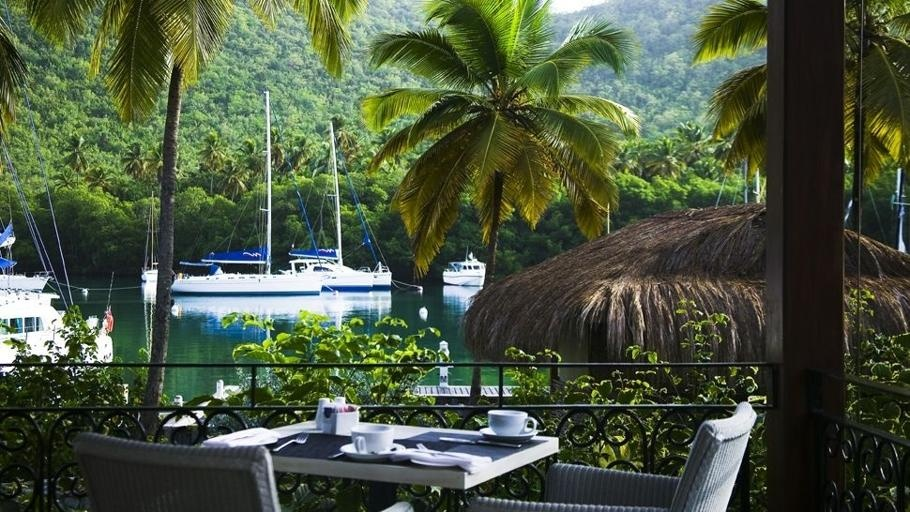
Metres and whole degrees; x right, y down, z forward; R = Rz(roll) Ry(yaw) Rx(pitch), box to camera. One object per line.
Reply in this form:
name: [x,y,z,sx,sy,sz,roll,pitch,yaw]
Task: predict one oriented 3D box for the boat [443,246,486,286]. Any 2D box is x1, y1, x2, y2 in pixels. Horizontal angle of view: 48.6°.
boat: [0.457,0.842,67.044,3.107,1.795,1.763,7,7,11]
